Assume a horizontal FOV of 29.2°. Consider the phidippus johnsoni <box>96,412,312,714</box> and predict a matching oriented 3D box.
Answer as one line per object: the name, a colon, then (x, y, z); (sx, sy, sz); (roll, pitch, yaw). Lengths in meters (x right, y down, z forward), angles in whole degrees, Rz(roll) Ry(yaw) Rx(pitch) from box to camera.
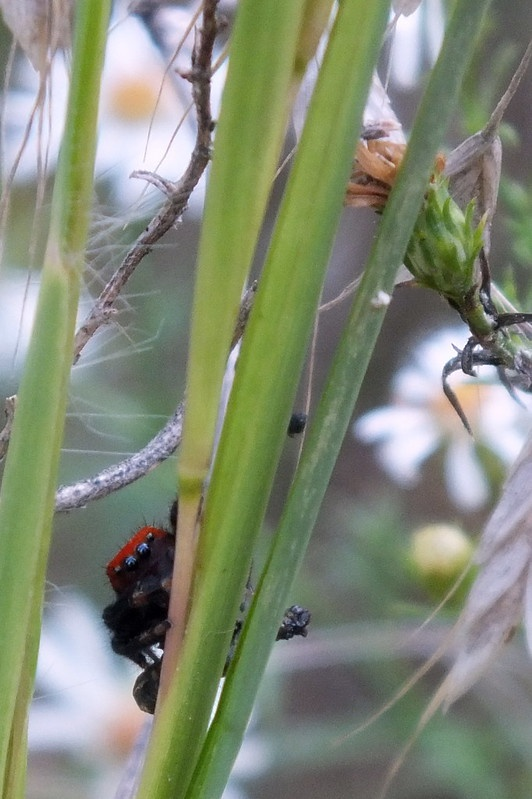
phidippus johnsoni: (-0.030, 0.055, 0.344); (0.071, 0.029, 0.096); (-2, -61, -37)
